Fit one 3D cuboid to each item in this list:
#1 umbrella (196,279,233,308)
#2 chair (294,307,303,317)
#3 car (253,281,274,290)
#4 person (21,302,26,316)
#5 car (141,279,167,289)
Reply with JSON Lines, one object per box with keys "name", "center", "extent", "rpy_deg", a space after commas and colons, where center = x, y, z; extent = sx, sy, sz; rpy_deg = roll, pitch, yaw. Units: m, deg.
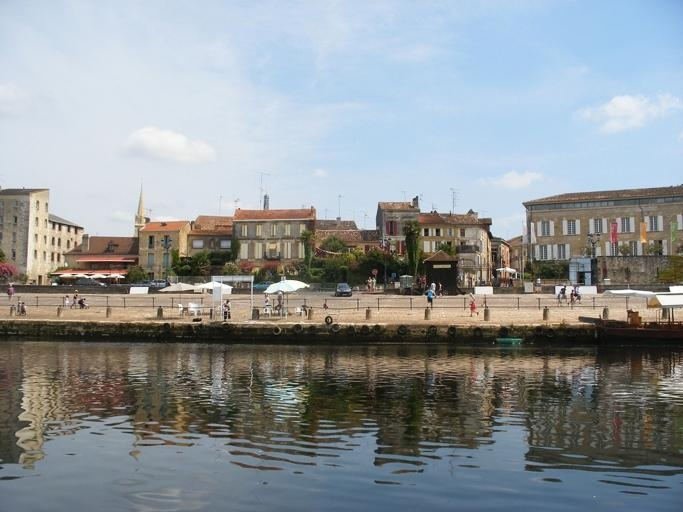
{"name": "umbrella", "center": [-10.096, 2.978, 86.529], "extent": [2.549, 1.455, 2.229], "rpy_deg": [1, -7, 5]}
{"name": "chair", "center": [-2.898, 3.794, 75.906], "extent": [0.696, 0.769, 0.534], "rpy_deg": [-1, -1, 11]}
{"name": "car", "center": [-7.773, 2.912, 111.401], "extent": [2.053, 0.582, 0.827], "rpy_deg": [3, -2, -14]}
{"name": "person", "center": [-22.631, 3.701, 77.681], "extent": [0.318, 0.862, 0.483], "rpy_deg": [-4, 12, -9]}
{"name": "car", "center": [-19.193, 2.956, 112.684], "extent": [2.383, 0.904, 1.309], "rpy_deg": [-1, 0, 2]}
